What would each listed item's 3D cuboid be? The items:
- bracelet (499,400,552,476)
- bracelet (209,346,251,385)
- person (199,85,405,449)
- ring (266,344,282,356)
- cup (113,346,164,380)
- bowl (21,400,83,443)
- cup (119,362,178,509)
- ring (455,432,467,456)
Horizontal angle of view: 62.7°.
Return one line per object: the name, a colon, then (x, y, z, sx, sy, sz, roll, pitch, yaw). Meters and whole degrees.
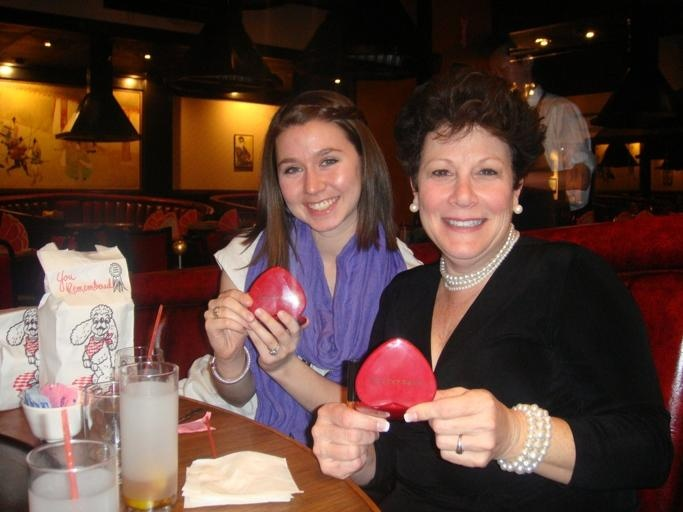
bracelet: (0.496, 0.481, 1.537, 0.151, 0.175, 0.050, 6, 3, -45)
bracelet: (-0.460, 0.439, 2.322, 0.195, 0.074, 0.215, -5, 35, -19)
person: (-0.105, -0.047, 2.503, 1.063, 1.603, 0.580, -10, -31, 12)
ring: (-0.236, 0.327, 1.949, 0.039, 0.049, 0.055, 0, 4, 2)
cup: (-0.584, 0.288, 1.642, 0.122, 0.090, 0.119, 0, -3, 0)
bowl: (-0.812, 0.483, 1.621, 0.142, 0.098, 0.141, -4, -5, 0)
cup: (-0.467, 0.433, 1.379, 0.135, 0.324, 0.151, -2, 5, -19)
ring: (0.300, 0.470, 1.419, 0.024, 0.056, 0.063, -2, 1, 9)
